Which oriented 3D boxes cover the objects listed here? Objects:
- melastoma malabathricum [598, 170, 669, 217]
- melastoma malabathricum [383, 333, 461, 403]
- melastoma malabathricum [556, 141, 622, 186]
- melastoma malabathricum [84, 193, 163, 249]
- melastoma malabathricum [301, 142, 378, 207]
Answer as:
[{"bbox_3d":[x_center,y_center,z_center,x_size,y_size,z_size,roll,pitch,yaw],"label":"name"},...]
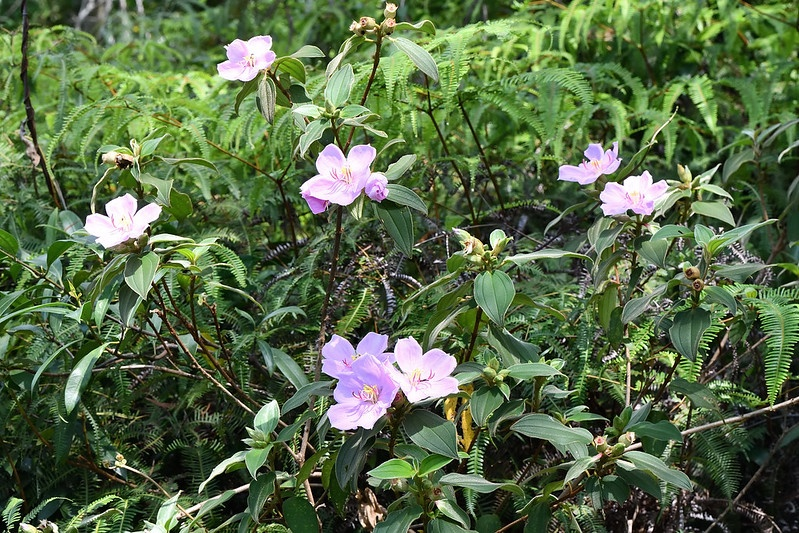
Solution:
[{"bbox_3d":[0.788,-0.242,2.563,0.219,0.115,0.106,1,32,6],"label":"melastoma malabathricum"},{"bbox_3d":[0.068,0.346,2.315,0.197,0.091,0.254,-2,4,5],"label":"melastoma malabathricum"},{"bbox_3d":[0.667,-0.368,2.687,0.191,0.184,0.206,5,33,12],"label":"melastoma malabathricum"},{"bbox_3d":[-0.868,-0.132,2.429,0.161,0.162,0.209,25,42,36],"label":"melastoma malabathricum"},{"bbox_3d":[-0.189,-0.280,2.428,0.185,0.116,0.220,-23,69,26],"label":"melastoma malabathricum"}]
